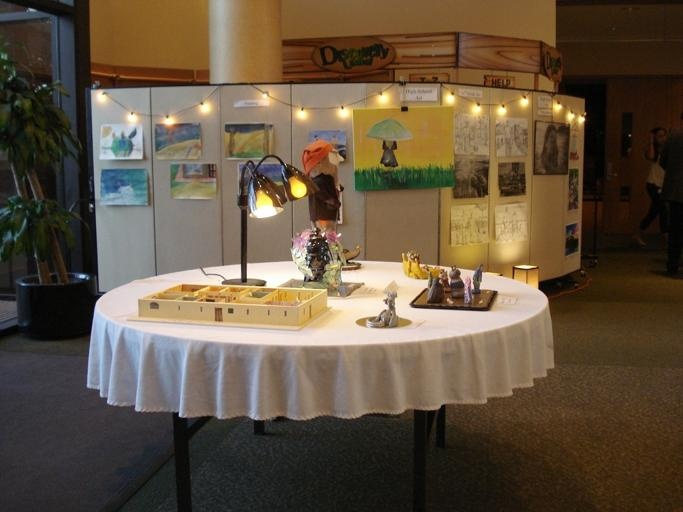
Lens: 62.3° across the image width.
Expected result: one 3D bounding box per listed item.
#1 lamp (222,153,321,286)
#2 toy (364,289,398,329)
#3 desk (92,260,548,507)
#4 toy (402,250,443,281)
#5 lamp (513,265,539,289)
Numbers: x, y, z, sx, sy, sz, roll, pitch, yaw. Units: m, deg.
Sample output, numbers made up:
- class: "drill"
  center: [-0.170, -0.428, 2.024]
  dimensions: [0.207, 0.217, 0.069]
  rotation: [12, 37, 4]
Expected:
- class: "lamp"
  center: [-0.454, -0.196, 3.111]
  dimensions: [0.443, 0.772, 0.534]
  rotation: [6, 10, 19]
- class: "toy"
  center: [0.170, 0.239, 2.494]
  dimensions: [0.139, 0.189, 0.123]
  rotation: [1, 0, -1]
- class: "desk"
  center: [-0.090, 0.640, 2.703]
  dimensions: [2.186, 1.052, 1.026]
  rotation: [-2, 10, 1]
- class: "toy"
  center: [0.472, 0.041, 3.348]
  dimensions: [0.197, 0.142, 0.151]
  rotation: [7, 7, 26]
- class: "lamp"
  center: [1.759, 0.196, 5.398]
  dimensions: [0.174, 0.202, 0.258]
  rotation: [8, 4, -39]
